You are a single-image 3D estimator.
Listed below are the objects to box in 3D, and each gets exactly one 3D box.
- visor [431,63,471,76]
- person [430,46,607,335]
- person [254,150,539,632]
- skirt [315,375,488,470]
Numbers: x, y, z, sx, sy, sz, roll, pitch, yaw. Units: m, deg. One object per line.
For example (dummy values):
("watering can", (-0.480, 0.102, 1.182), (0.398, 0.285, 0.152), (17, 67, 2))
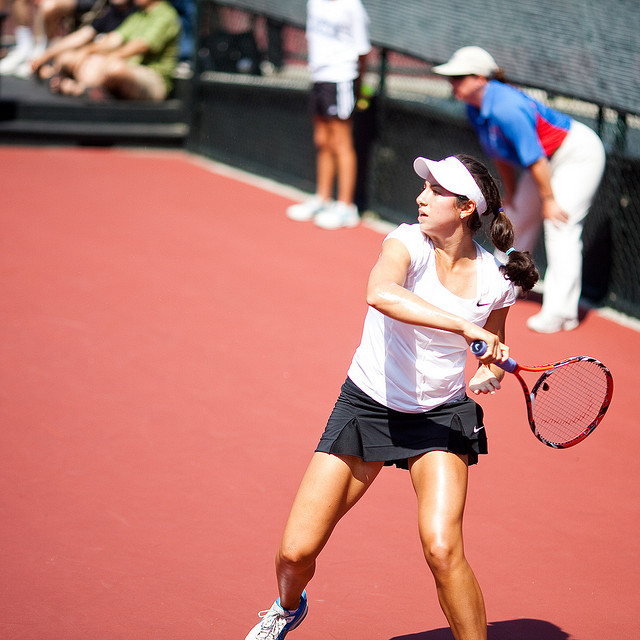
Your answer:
("visor", (0.766, -1.498, 4.547), (0.187, 0.077, 0.147), (7, 5, 20))
("person", (1.374, -0.867, 4.932), (0.844, 1.855, 0.916), (6, 29, 37))
("person", (0.400, 0.246, 2.797), (0.781, 1.710, 1.525), (12, 26, 15))
("skirt", (0.272, 0.335, 2.503), (0.546, 0.174, 0.279), (8, 27, 0))
